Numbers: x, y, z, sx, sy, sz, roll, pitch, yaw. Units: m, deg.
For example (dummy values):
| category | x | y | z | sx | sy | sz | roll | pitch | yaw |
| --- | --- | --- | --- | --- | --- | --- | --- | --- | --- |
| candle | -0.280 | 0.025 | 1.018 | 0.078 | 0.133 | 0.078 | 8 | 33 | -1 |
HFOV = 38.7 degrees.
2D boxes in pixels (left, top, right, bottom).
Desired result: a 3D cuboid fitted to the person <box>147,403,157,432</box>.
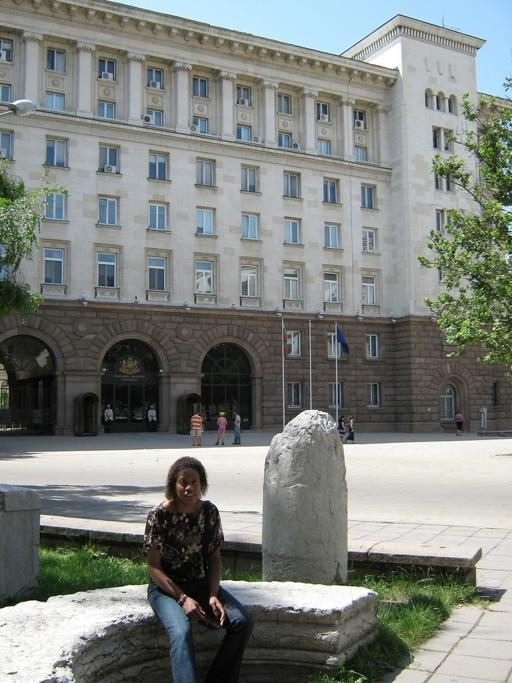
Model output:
| category | x | y | z | sx | sy | sz | roll | pitch | yaw |
| --- | --- | --- | --- | --- | --- | --- | --- | --- | --- |
| person | -5.278 | 3.885 | 37.338 | 0.508 | 1.392 | 0.788 | 0 | -5 | -9 |

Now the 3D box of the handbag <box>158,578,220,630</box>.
| category | x | y | z | sx | sy | sz | roll | pitch | yaw |
| --- | --- | --- | --- | --- | --- | --- | --- | --- | --- |
| handbag | -0.319 | 1.385 | 3.745 | 0.278 | 0.097 | 0.207 | 38 | -34 | 4 |

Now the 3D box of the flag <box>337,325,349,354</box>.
| category | x | y | z | sx | sy | sz | roll | pitch | yaw |
| --- | --- | --- | --- | --- | --- | --- | --- | --- | --- |
| flag | 4.899 | -0.191 | 41.649 | 0.623 | 1.686 | 2.567 | -1 | -5 | 8 |

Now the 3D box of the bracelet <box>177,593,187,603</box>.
| category | x | y | z | sx | sy | sz | roll | pitch | yaw |
| --- | --- | --- | --- | --- | --- | --- | --- | --- | --- |
| bracelet | -0.377 | 1.316 | 3.744 | 0.017 | 0.044 | 0.032 | 17 | -20 | -20 |

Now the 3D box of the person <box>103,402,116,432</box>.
| category | x | y | z | sx | sy | sz | roll | pitch | yaw |
| --- | --- | --- | --- | --- | --- | --- | --- | --- | --- |
| person | -7.354 | 3.806 | 36.412 | 0.454 | 1.392 | 0.627 | 0 | -5 | -10 |
